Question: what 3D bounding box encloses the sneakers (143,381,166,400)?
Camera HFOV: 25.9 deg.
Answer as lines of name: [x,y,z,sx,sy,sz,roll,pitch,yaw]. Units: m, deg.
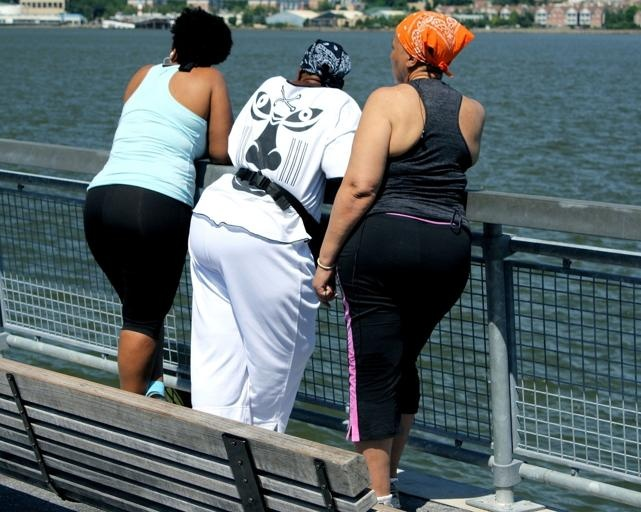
sneakers: [-0.895,0.718,7.530,0.121,0.087,0.107,6,46,-12]
